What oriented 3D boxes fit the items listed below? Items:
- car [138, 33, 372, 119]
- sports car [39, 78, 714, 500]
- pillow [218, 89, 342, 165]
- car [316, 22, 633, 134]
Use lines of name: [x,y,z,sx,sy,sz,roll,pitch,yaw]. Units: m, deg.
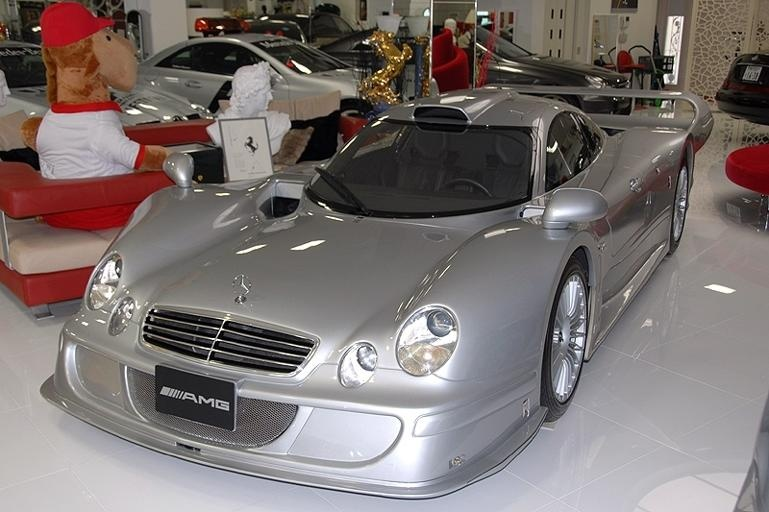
car: [-1.965,-2.795,7.374,2.964,1.037,1.375,-4,24,-1]
sports car: [0.162,-0.354,3.930,2.576,1.413,4.787,7,18,20]
pillow: [-0.936,-1.144,4.408,0.874,1.096,0.428,-5,-3,-33]
car: [1.699,-3.118,8.374,5.380,1.772,2.419,1,28,-1]
